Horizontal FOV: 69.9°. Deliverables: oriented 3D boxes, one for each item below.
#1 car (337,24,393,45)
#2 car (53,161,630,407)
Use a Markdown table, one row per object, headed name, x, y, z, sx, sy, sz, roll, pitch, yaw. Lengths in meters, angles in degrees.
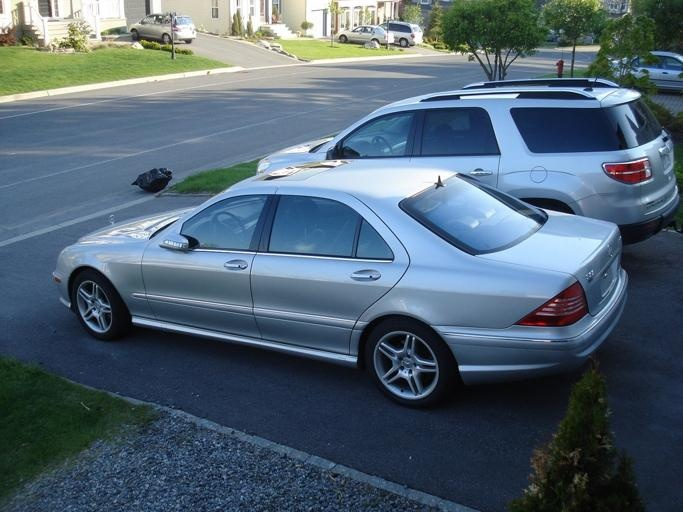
| name | x | y | z | sx | sy | sz | roll | pitch | yaw |
| --- | --- | --- | --- | --- | --- | --- | --- | --- | --- |
| car | 2.389 | -27.949 | 61.682 | 7.460 | 2.195 | 2.904 | 6 | 27 | 11 |
| car | -0.221 | 0.038 | 5.302 | 5.802 | 1.479 | 2.345 | 6 | 19 | 21 |
